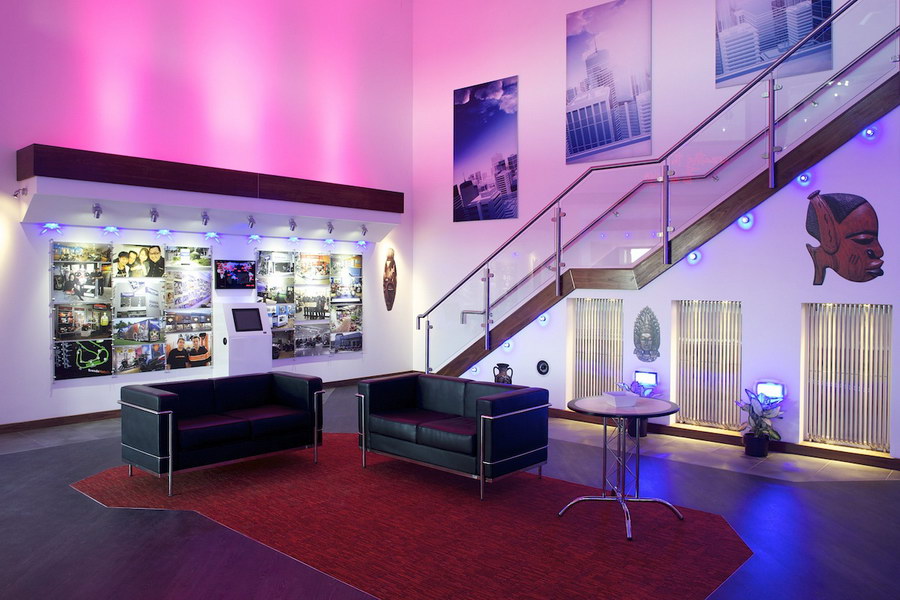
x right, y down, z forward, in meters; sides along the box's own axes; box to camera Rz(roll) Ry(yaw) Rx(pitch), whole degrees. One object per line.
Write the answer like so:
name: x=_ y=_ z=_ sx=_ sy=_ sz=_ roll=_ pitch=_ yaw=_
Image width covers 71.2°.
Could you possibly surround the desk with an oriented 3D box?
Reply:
desk: x=2.190 y=2.040 z=7.941 sx=1.540 sy=1.432 sz=1.378 roll=-4 pitch=-9 yaw=27
